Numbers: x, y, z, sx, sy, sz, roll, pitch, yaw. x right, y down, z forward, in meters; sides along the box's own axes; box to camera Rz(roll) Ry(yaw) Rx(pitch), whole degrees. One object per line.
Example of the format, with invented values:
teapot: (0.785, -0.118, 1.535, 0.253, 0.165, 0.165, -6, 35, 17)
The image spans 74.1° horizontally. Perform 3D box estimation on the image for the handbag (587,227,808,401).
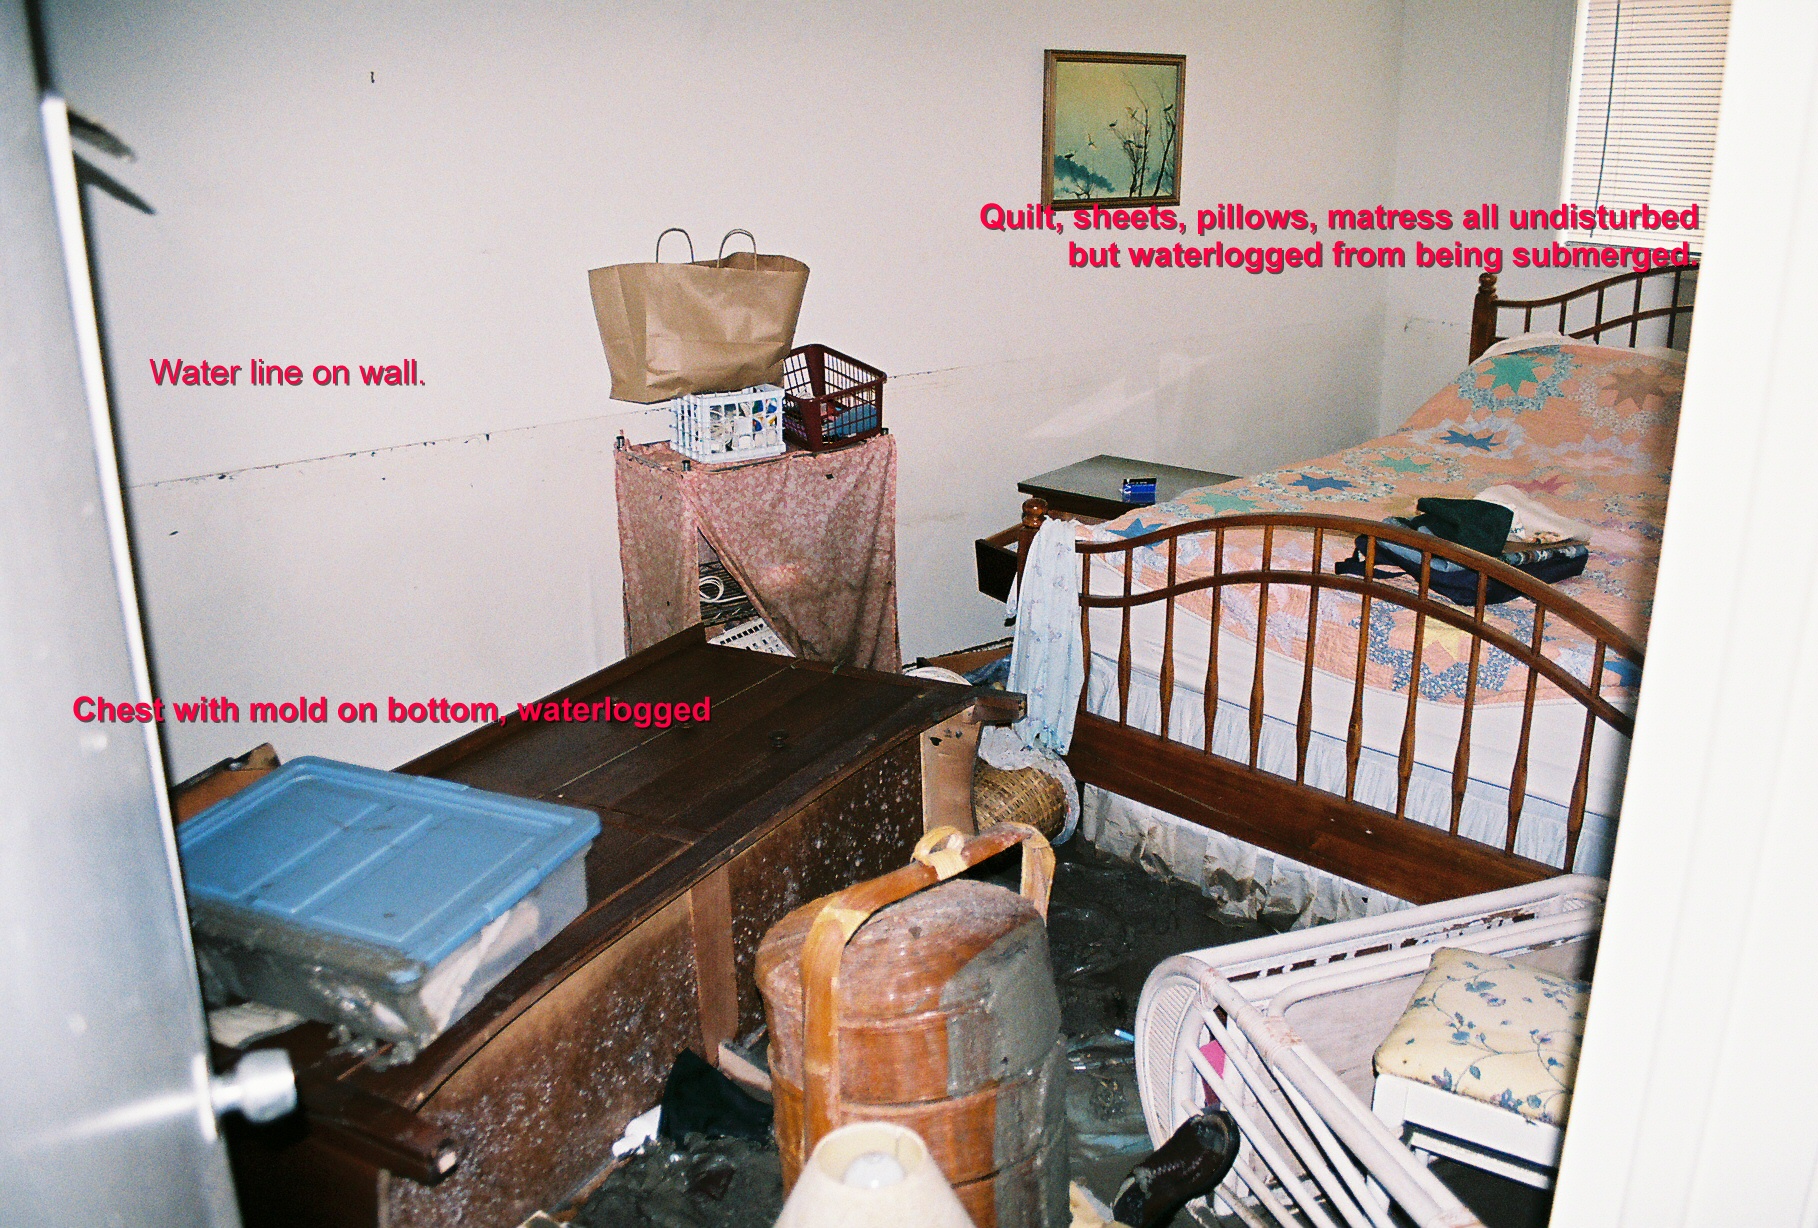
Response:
handbag: (-0.651, -0.974, 3.840, 0.602, 0.509, 0.371, -4, 21, -24)

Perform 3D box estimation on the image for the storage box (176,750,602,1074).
storage box: (-0.929, 0.476, 2.088, 0.637, 0.311, 0.465, 2, 18, 22)

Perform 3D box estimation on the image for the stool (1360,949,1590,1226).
stool: (1.009, 0.804, 2.146, 0.294, 0.264, 0.357, 7, 20, 33)

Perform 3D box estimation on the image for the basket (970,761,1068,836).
basket: (0.333, 0.569, 3.770, 0.276, 0.139, 0.289, 1, 1, -23)

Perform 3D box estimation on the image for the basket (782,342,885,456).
basket: (-0.327, -0.758, 4.212, 0.306, 0.211, 0.456, -14, 28, -25)

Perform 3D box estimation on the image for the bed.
bed: (2.071, -0.255, 4.146, 2.967, 1.258, 1.790, -27, 28, -37)

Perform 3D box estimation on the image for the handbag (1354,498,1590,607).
handbag: (1.732, -0.207, 3.686, 0.506, 0.148, 0.484, -20, 24, -34)

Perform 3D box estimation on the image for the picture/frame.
picture/frame: (0.897, -2.114, 5.269, 0.036, 0.660, 0.839, -21, 32, -32)

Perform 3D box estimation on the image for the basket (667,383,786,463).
basket: (-0.574, -0.651, 3.852, 0.301, 0.196, 0.285, -14, 20, -36)
